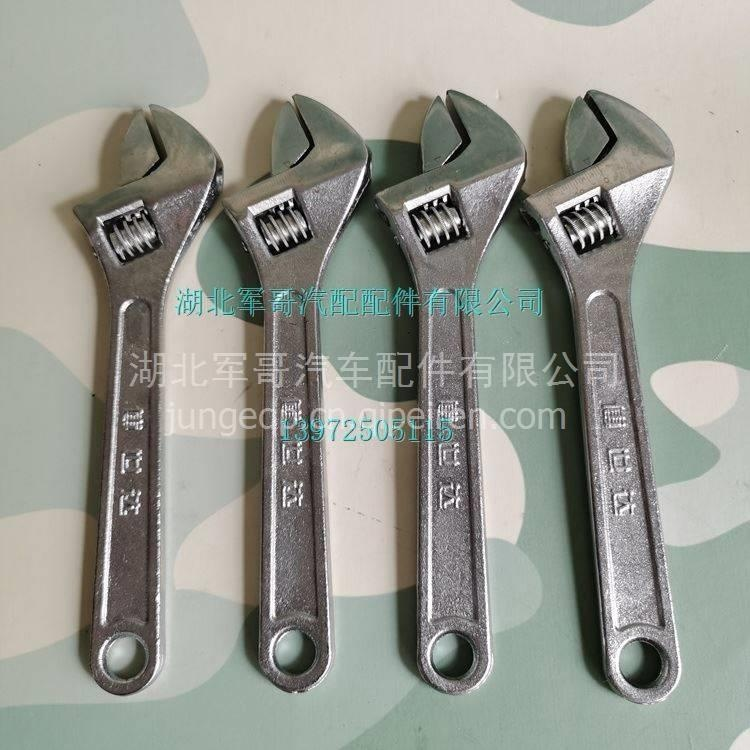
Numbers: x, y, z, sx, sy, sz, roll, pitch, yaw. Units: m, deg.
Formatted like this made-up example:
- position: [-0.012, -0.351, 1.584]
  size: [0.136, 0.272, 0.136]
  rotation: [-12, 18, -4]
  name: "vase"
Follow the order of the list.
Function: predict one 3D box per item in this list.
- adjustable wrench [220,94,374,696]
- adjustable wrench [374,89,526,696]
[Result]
- position: [-0.157, 0.005, 1.516]
  size: [0.288, 0.115, 1.157]
  rotation: [-2, 79, 0]
  name: "adjustable wrench"
- position: [0.162, -0.009, 1.529]
  size: [0.289, 0.112, 1.182]
  rotation: [0, 80, 3]
  name: "adjustable wrench"
